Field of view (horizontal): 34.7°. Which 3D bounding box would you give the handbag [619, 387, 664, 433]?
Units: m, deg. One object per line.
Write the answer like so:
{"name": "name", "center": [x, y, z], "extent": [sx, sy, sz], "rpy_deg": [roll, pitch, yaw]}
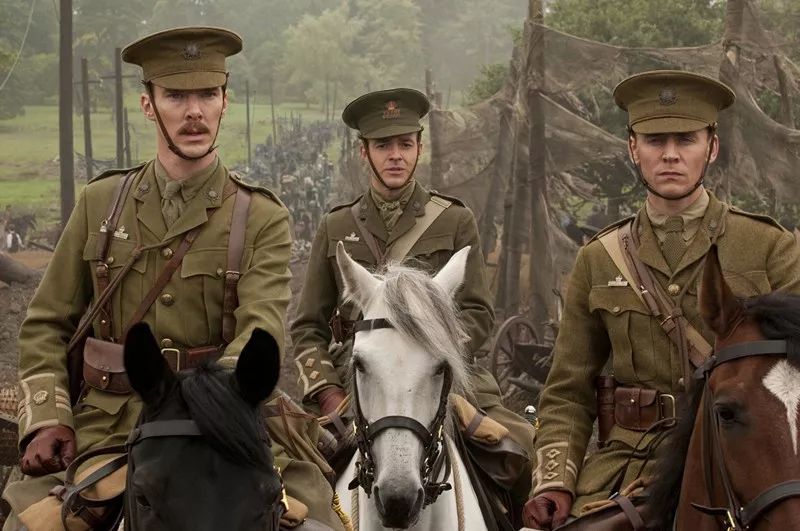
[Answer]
{"name": "handbag", "center": [2.840, 1.640, 14.942], "extent": [0.521, 0.499, 0.286], "rpy_deg": [0, 10, 34]}

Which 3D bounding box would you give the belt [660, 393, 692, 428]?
{"name": "belt", "center": [3.095, 1.634, 14.660], "extent": [0.175, 0.404, 0.284], "rpy_deg": [5, 1, -21]}

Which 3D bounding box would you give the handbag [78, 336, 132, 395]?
{"name": "handbag", "center": [-3.343, 1.132, 14.551], "extent": [0.664, 0.606, 0.201], "rpy_deg": [6, -13, 9]}

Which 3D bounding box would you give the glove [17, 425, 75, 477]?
{"name": "glove", "center": [-3.998, 2.159, 14.629], "extent": [0.646, 0.456, 0.305], "rpy_deg": [-29, -28, 0]}
